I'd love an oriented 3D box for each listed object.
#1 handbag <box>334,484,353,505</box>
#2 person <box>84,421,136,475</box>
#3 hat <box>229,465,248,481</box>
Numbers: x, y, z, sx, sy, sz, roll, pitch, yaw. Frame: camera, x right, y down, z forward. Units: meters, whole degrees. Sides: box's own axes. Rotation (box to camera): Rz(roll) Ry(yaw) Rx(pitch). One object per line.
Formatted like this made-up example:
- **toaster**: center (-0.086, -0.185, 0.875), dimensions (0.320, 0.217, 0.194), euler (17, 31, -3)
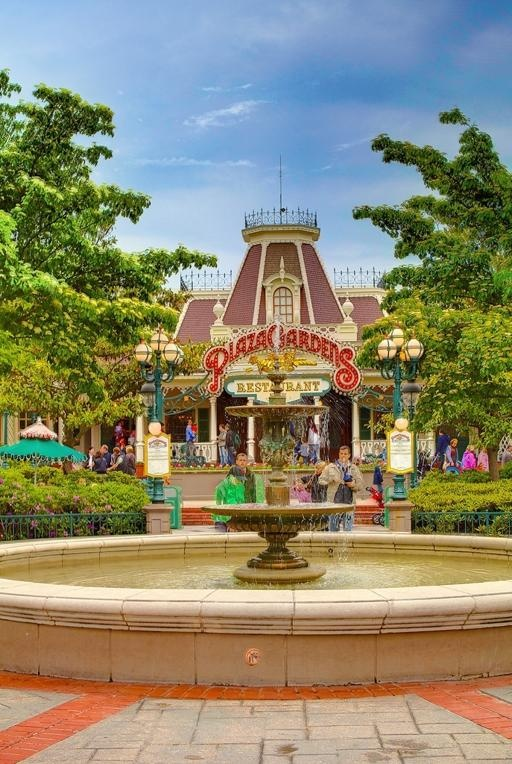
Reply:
- **handbag**: center (1.183, 1.490, 13.401), dimensions (0.314, 0.258, 0.111), euler (-2, 2, -41)
- **person**: center (-3.735, 1.794, 24.945), dimensions (1.432, 1.314, 0.940), euler (-1, 0, -3)
- **hat**: center (-0.289, 1.474, 16.204), dimensions (0.290, 0.215, 0.183), euler (-6, 0, 2)
